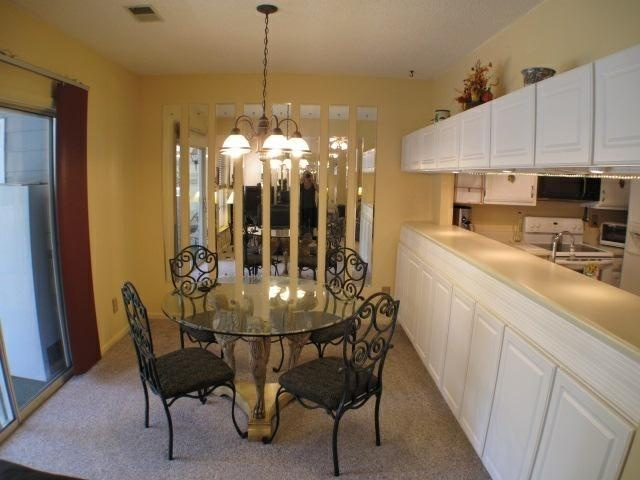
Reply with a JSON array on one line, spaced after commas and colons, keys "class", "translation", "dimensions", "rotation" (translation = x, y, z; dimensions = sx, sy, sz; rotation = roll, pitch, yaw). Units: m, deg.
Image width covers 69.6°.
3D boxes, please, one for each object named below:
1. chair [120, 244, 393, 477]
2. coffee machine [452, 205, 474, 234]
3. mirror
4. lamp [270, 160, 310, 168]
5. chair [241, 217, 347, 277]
[{"class": "chair", "translation": [-0.384, 0.856, 4.011], "dimensions": [2.002, 1.256, 1.803], "rotation": [3, 9, 7]}, {"class": "coffee machine", "translation": [1.648, -0.260, 5.294], "dimensions": [0.177, 0.342, 0.309], "rotation": [-3, 3, -38]}, {"class": "mirror", "translation": [-0.624, -0.581, 5.194], "dimensions": [1.894, 2.235, 0.050], "rotation": [0, 7, -1]}, {"class": "lamp", "translation": [-0.345, -0.872, 5.319], "dimensions": [0.436, 0.110, 0.059], "rotation": [-1, 9, -14]}, {"class": "chair", "translation": [-0.372, 0.123, 5.416], "dimensions": [0.741, 0.405, 0.756], "rotation": [6, 7, 40]}]
